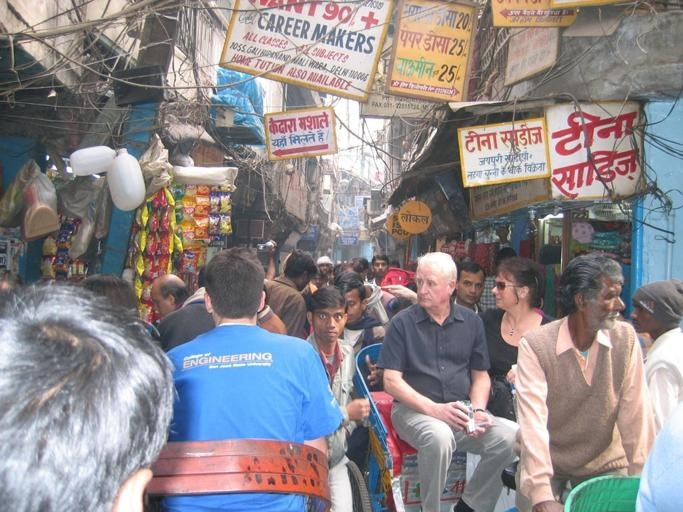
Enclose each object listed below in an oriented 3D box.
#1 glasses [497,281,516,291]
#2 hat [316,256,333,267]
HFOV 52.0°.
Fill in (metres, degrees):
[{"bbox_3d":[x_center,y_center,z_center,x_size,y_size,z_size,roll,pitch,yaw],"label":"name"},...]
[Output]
[{"bbox_3d":[1.306,0.243,5.582,0.087,0.031,0.087,11,-7,-7],"label":"glasses"},{"bbox_3d":[-0.374,0.128,14.552,0.323,0.201,0.476,1,-6,-4],"label":"hat"}]
